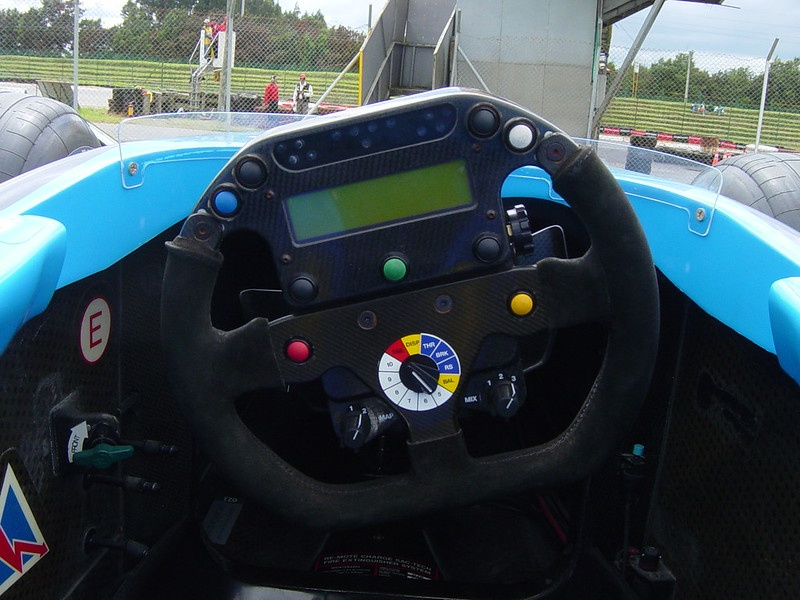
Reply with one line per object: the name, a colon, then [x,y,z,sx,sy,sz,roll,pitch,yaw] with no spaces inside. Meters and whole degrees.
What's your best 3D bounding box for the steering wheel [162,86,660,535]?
steering wheel: [0.019,0.050,1.197,0.637,0.671,0.103,-17,5,-2]
